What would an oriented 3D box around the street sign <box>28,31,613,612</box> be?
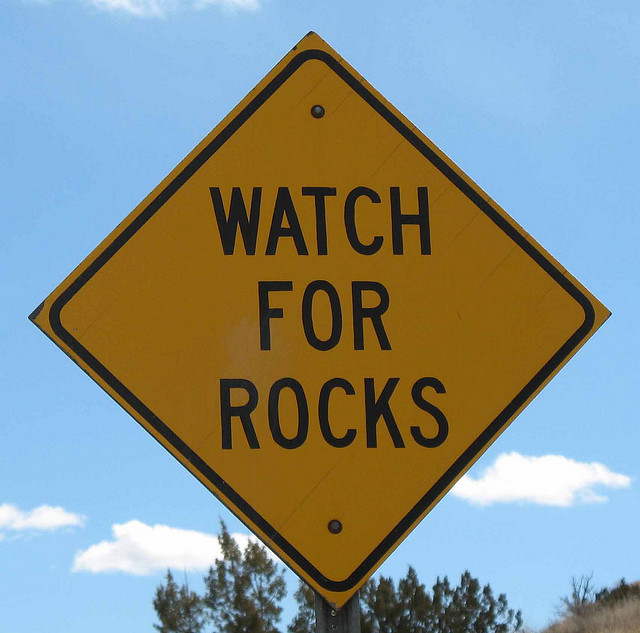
[{"bbox_3d":[0.002,-0.003,3.298,1.283,1.203,0.608,19,-37,-20],"label":"street sign"}]
